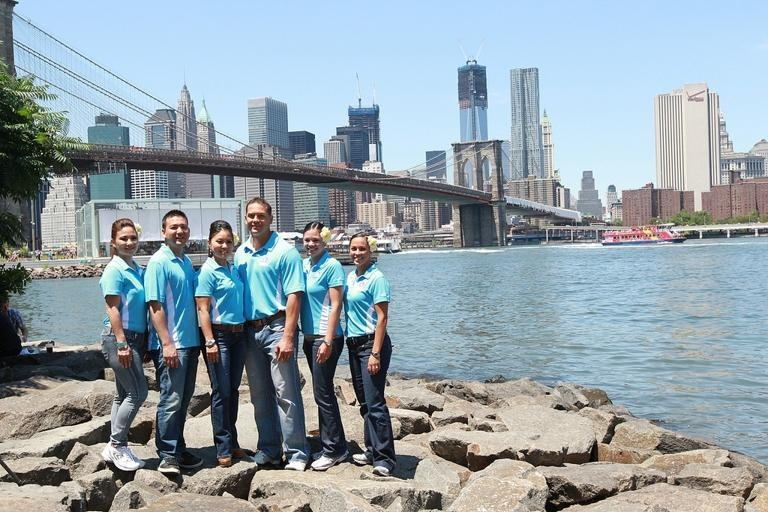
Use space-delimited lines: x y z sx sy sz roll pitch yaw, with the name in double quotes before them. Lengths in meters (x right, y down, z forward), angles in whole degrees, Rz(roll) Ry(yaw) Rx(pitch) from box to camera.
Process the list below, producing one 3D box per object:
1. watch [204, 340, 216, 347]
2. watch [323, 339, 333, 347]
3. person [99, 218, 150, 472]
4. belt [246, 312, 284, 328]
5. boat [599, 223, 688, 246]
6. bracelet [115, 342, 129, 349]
"watch" -1.964 0.998 9.962 0.103 0.087 0.051 -3 3 -10
"watch" -0.645 1.004 10.069 0.107 0.113 0.079 -3 2 -6
"person" -2.991 1.004 10.055 0.604 2.861 0.638 -4 3 -17
"belt" -1.373 0.740 10.097 0.459 0.192 0.091 -2 3 17
"boat" 27.807 -2.152 95.092 7.392 1.968 8.229 -2 2 10
"bracelet" -2.934 1.012 9.865 0.112 0.084 0.076 -4 3 -21
